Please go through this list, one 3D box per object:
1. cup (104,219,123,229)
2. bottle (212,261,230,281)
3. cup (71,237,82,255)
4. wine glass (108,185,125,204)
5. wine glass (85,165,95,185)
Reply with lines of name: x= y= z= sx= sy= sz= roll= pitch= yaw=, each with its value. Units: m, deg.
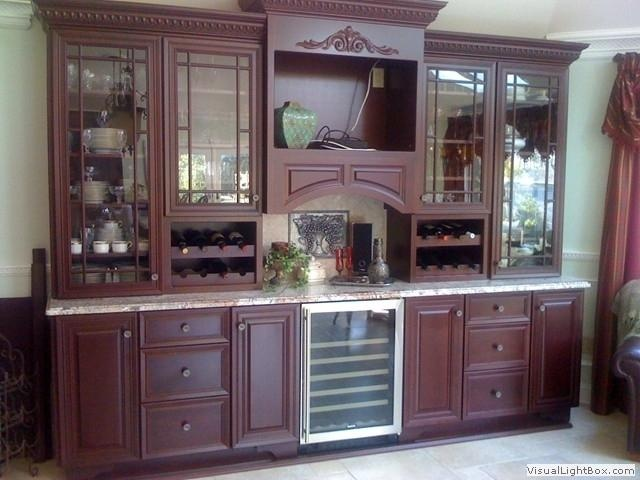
cup: x=-1.285 y=-0.099 z=3.370 sx=0.071 sy=0.051 sz=0.054 roll=1 pitch=3 yaw=-18
bottle: x=-0.651 y=0.196 z=3.630 sx=0.070 sy=0.058 sz=0.176 roll=-28 pitch=28 yaw=-4
cup: x=-1.489 y=0.043 z=3.330 sx=0.083 sy=0.089 sz=0.083 roll=1 pitch=6 yaw=0
wine glass: x=-1.255 y=-0.275 z=3.363 sx=0.100 sy=0.116 sz=0.103 roll=0 pitch=-2 yaw=25
wine glass: x=-1.400 y=-0.399 z=3.313 sx=0.059 sy=0.097 sz=0.020 roll=-6 pitch=14 yaw=-29
